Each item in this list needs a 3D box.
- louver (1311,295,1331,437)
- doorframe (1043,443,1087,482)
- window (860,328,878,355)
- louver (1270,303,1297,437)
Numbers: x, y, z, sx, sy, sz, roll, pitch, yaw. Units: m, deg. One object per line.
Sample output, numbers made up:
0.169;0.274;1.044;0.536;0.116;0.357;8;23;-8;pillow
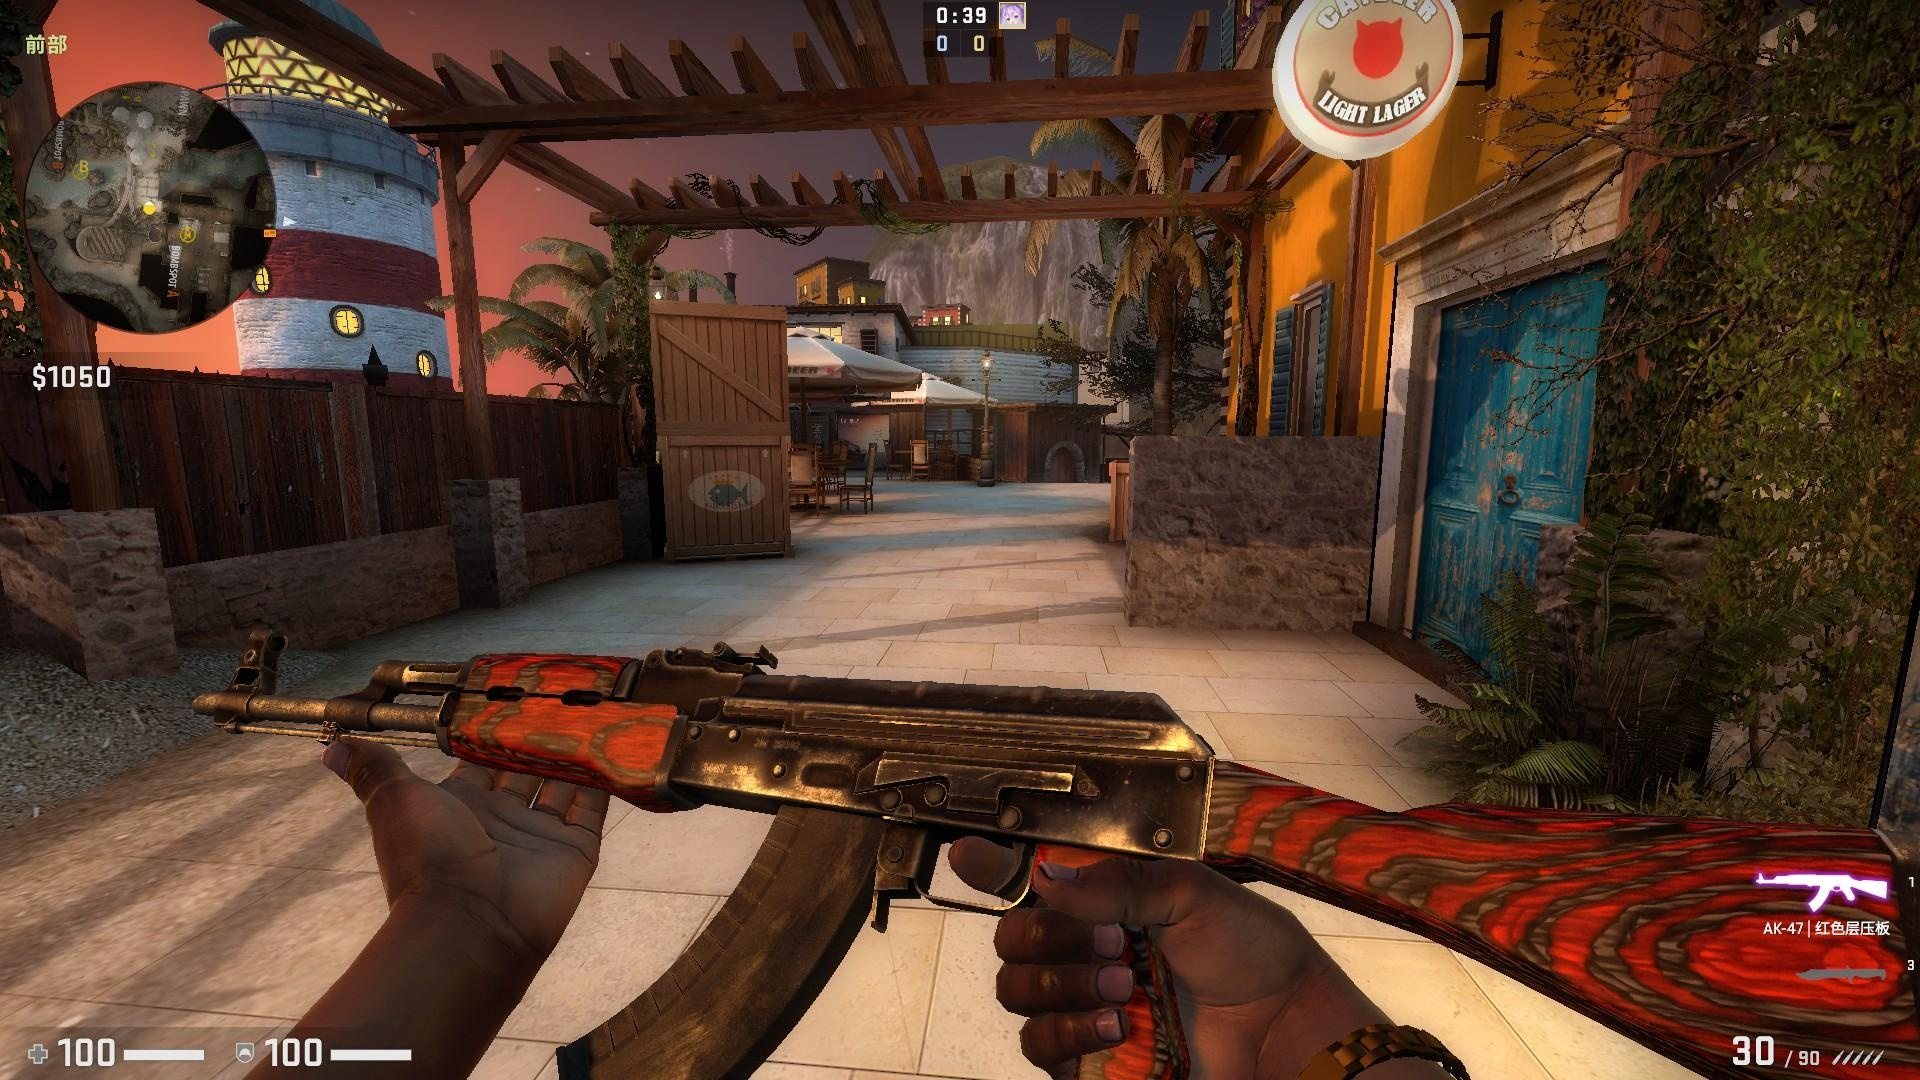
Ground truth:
3.763;-1.852;8.916;0.101;1.451;0.490;2;8;16;louver
3.225;-2.431;26.664;1.616;1.326;0.252;-1;9;-10;doorframe
-3.375;-7.407;32.089;0.635;0.896;0.346;-1;8;-6;window
3.738;-2.176;9.899;0.081;0.864;0.367;-5;14;-17;louver
